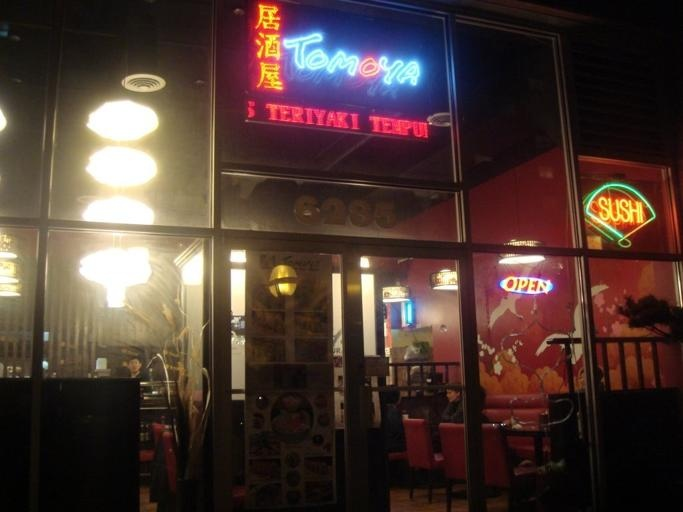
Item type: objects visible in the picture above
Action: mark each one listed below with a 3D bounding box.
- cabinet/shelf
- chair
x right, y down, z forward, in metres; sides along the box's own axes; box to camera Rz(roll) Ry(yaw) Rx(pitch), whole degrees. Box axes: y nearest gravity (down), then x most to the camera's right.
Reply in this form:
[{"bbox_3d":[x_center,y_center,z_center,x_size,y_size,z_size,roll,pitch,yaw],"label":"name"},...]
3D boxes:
[{"bbox_3d":[-0.423,1.024,5.590,0.732,2.082,0.297,0,-12,-4],"label":"cabinet/shelf"},{"bbox_3d":[1.100,1.846,5.998,1.040,1.016,1.091,15,-22,-32],"label":"chair"}]
